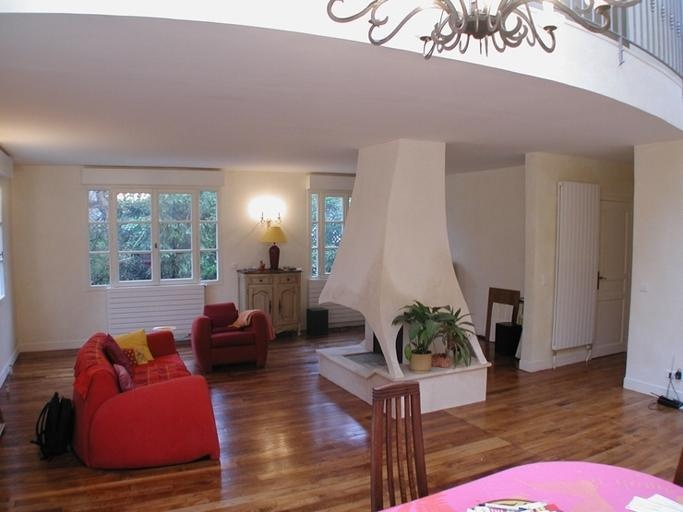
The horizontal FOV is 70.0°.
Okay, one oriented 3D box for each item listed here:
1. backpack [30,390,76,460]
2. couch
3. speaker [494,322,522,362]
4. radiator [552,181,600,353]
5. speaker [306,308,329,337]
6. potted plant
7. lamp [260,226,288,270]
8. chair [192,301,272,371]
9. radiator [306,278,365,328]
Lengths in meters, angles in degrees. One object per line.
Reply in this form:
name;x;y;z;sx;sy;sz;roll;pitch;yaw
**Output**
backpack;-2.471;1.486;4.279;0.239;0.499;0.337;3;-1;-30
couch;-2.030;1.266;5.008;1.177;0.830;2.143;0;3;-26
speaker;2.457;1.286;7.232;0.353;0.557;0.344;6;-6;25
radiator;3.169;0.144;6.608;0.940;2.295;0.248;-6;9;-37
speaker;-0.404;1.116;8.322;0.365;0.424;0.333;-1;7;-9
potted plant;0.965;0.791;5.238;0.791;0.564;0.767;0;0;-32
lamp;-1.126;-0.168;8.221;0.395;0.741;0.506;-1;7;-8
chair;-1.618;1.107;6.849;1.160;0.891;1.103;-1;-3;-41
radiator;-0.148;0.682;7.224;0.907;0.889;0.294;-1;4;-23
